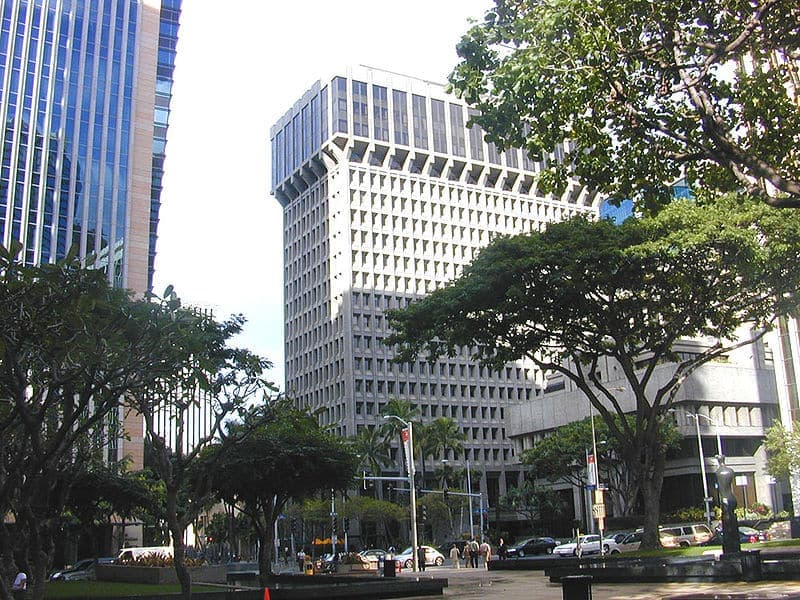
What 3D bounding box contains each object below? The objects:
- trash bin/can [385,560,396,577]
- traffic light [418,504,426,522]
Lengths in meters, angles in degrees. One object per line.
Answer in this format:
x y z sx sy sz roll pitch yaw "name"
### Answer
-0.516 12.181 40.085 0.569 0.633 1.130 5 -20 -1 "trash bin/can"
1.349 12.766 53.308 0.380 0.895 1.429 -4 -17 -5 "traffic light"
